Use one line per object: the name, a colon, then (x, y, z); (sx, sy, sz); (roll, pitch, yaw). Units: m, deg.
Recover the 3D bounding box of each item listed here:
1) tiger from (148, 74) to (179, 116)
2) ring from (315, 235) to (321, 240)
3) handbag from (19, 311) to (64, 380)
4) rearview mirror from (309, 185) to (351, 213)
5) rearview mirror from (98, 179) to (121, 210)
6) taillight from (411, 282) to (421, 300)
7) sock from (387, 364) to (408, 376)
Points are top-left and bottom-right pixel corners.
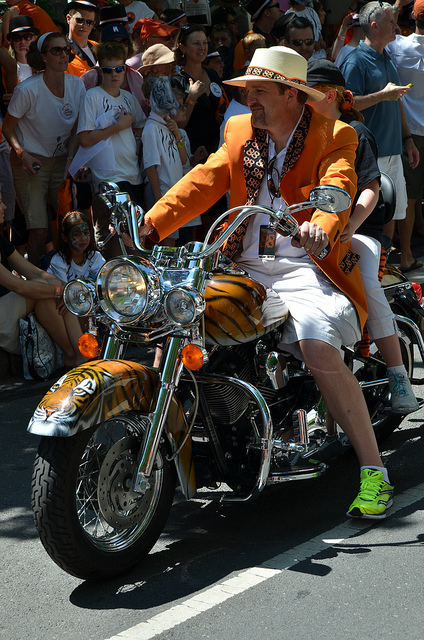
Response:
tiger: (-0.523, -2.478, 5.646); (0.334, 0.446, 0.186); (-3, -2, -14)
ring: (0.366, -0.289, 1.781); (0.023, 0.011, 0.003); (-3, -3, -24)
handbag: (-1.668, 0.249, 4.948); (0.257, 0.585, 0.645); (-7, 5, -6)
rearview mirror: (0.342, -0.366, 1.529); (0.099, 0.068, 0.128); (-4, -3, -2)
rearview mirror: (-0.353, -0.461, 1.862); (0.077, 0.103, 0.033); (-5, 33, 29)
taillight: (1.378, -0.199, 3.471); (0.082, 0.105, 0.042); (-6, -10, -30)
sock: (1.035, 0.278, 2.869); (0.054, 0.061, 0.067); (-7, -9, -9)
